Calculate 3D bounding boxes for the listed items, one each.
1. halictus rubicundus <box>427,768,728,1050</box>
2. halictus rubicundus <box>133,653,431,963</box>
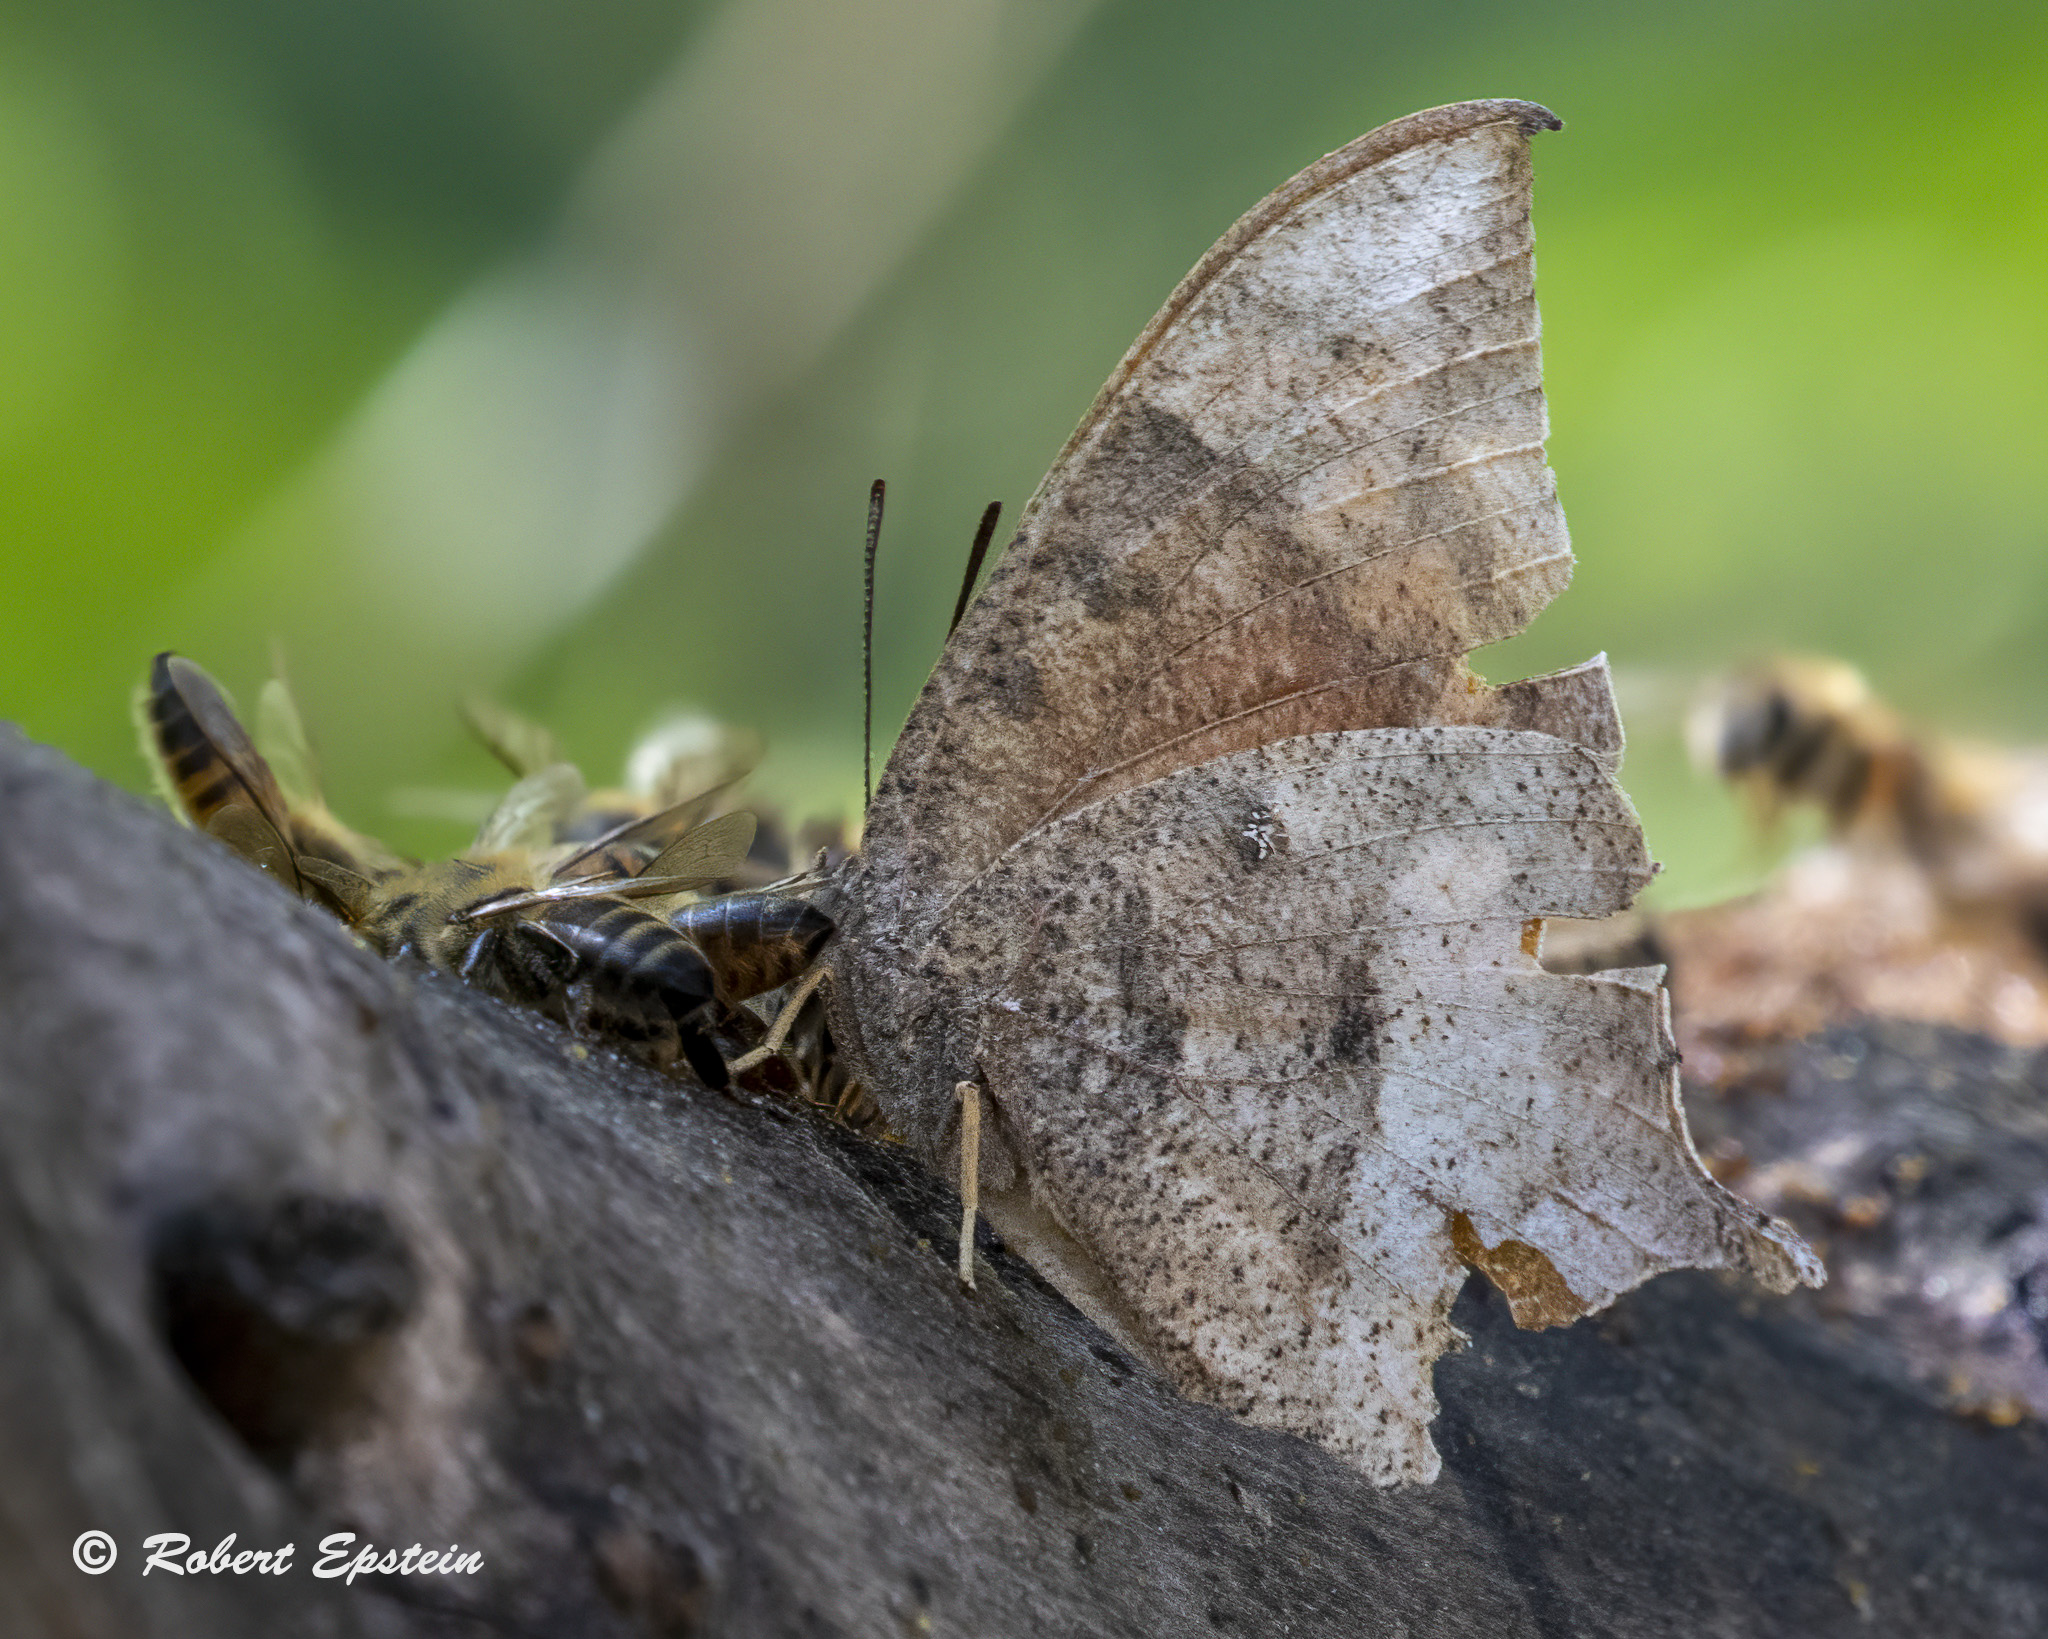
[{"bbox_3d":[-0.351,0.087,2.053,0.204,0.250,0.194,-9,19,-34],"label":"halictus rubicundus"},{"bbox_3d":[-0.599,-0.006,2.094,0.247,0.131,0.278,28,-3,14],"label":"halictus rubicundus"}]
